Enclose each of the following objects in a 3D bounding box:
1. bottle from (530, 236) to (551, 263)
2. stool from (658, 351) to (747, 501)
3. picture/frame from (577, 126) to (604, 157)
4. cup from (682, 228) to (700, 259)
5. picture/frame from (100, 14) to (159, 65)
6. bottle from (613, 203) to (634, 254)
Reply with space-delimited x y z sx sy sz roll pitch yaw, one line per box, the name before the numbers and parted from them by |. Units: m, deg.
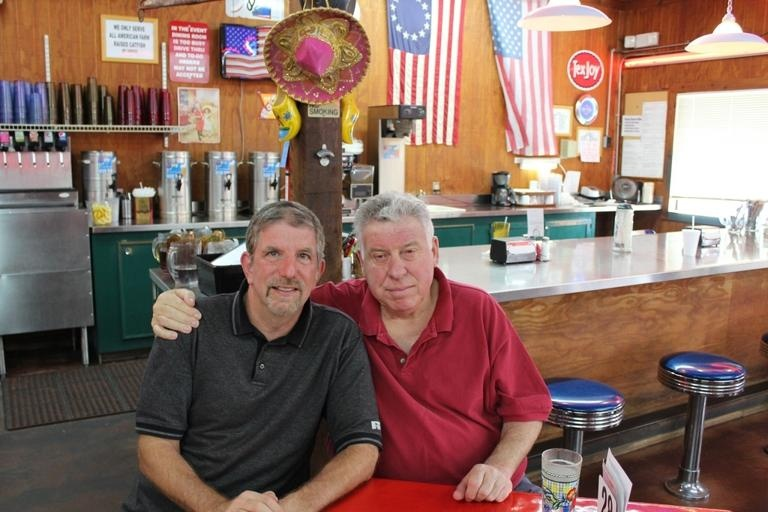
bottle | 1.119 -0.046 4.031 0.131 0.196 0.206 -3 3 -36
stool | 2.014 1.096 3.653 0.441 0.920 0.339 -4 8 -20
picture/frame | 2.984 -1.663 8.267 0.496 0.539 0.044 -3 6 -32
cup | 2.303 -0.100 4.269 0.108 0.199 0.212 2 8 27
picture/frame | -2.534 -2.135 5.573 0.570 0.436 0.044 -3 8 -31
bottle | 1.848 -0.210 4.385 0.133 0.357 0.265 1 8 22
